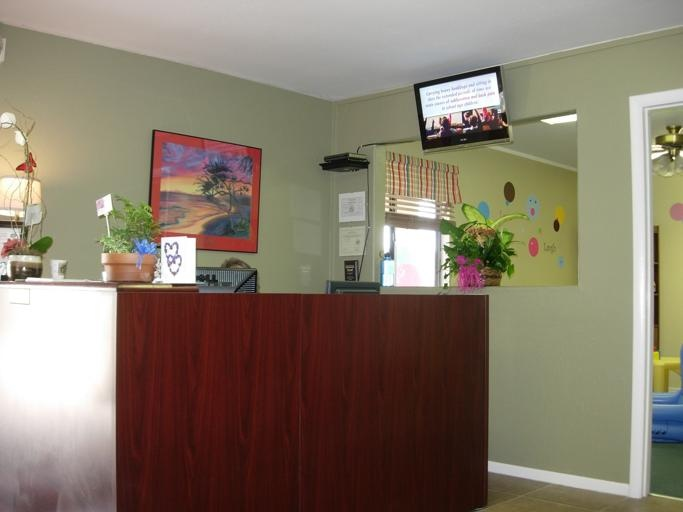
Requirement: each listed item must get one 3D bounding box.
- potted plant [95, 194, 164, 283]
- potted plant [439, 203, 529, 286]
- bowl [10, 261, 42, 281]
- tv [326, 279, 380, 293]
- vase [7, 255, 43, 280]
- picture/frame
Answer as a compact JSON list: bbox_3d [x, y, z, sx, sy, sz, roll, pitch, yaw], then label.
[{"bbox_3d":[-0.977,-0.078,2.469,0.265,0.384,0.197,0,0,-3],"label":"potted plant"},{"bbox_3d":[1.153,-0.067,4.436,0.713,0.620,0.770,1,-9,44],"label":"potted plant"},{"bbox_3d":[-1.809,0.083,3.064,0.107,0.089,0.115,0,-1,0],"label":"bowl"},{"bbox_3d":[0.067,0.170,2.962,0.288,0.056,0.063,0,0,-14],"label":"tv"},{"bbox_3d":[-1.804,0.063,3.059,0.137,0.145,0.137,5,-7,-39],"label":"vase"},{"bbox_3d":[-1.224,-0.576,4.699,1.000,1.074,0.042,4,-2,-37],"label":"picture/frame"}]
